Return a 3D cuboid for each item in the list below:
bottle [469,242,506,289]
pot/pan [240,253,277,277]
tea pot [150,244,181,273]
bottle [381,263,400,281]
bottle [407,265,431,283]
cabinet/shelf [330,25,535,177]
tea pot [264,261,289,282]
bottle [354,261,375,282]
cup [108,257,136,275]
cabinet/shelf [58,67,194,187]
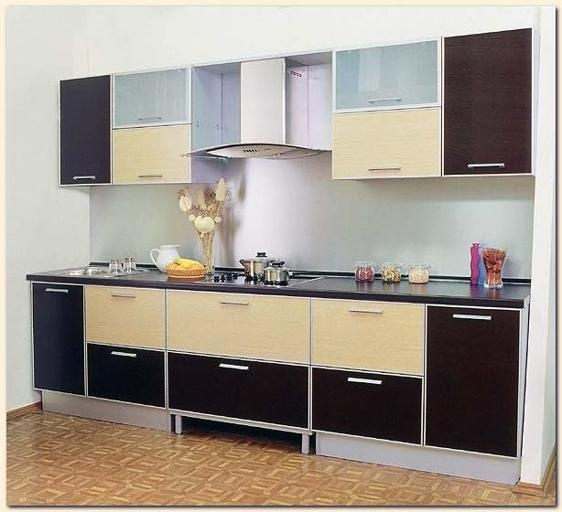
[{"bbox_3d":[1.203,0.052,2.818,0.192,0.342,0.294,1,1,27],"label":"bottle"},{"bbox_3d":[-0.156,0.062,3.184,0.161,0.146,0.197,1,-1,-4],"label":"pot/pan"},{"bbox_3d":[-0.904,0.019,3.728,0.251,0.265,0.199,2,2,-1],"label":"tea pot"},{"bbox_3d":[0.665,0.110,2.923,0.099,0.109,0.104,-1,-8,16],"label":"bottle"},{"bbox_3d":[0.832,0.112,2.912,0.112,0.089,0.093,-5,3,-36],"label":"bottle"},{"bbox_3d":[0.852,-0.825,2.649,0.875,0.614,0.291,0,0,24],"label":"cabinet/shelf"},{"bbox_3d":[-0.018,0.087,2.973,0.117,0.121,0.129,3,7,25],"label":"tea pot"},{"bbox_3d":[0.534,0.108,3.066,0.111,0.118,0.116,1,-8,3],"label":"bottle"},{"bbox_3d":[-1.172,0.079,3.610,0.125,0.084,0.184,-1,0,-14],"label":"cup"},{"bbox_3d":[-1.103,-0.933,3.521,0.865,0.677,0.316,0,0,19],"label":"cabinet/shelf"}]
